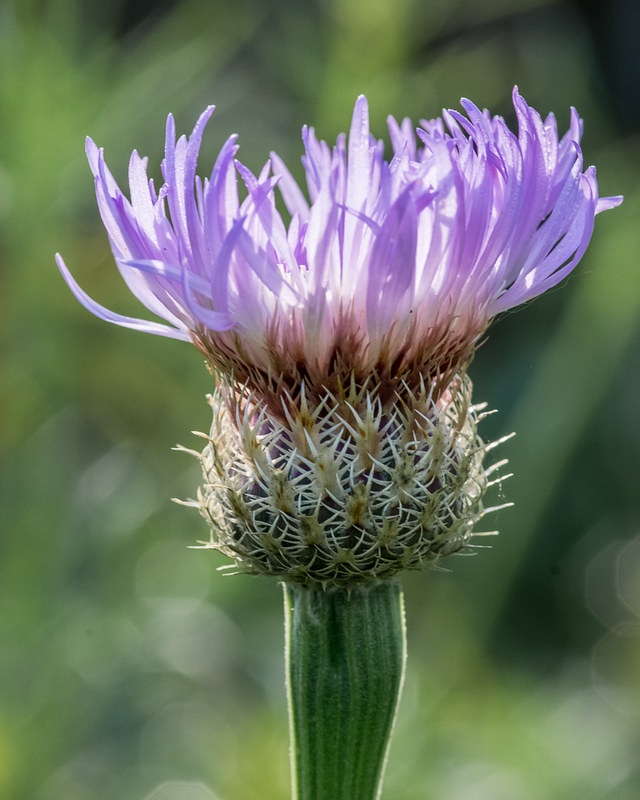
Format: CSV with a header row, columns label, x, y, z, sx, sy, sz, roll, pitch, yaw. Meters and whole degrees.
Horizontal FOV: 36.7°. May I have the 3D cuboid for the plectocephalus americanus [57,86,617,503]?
label,x,y,z,sx,sy,sz,roll,pitch,yaw
plectocephalus americanus,0.053,-0.098,0.975,0.515,0.310,0.519,-14,13,-35
